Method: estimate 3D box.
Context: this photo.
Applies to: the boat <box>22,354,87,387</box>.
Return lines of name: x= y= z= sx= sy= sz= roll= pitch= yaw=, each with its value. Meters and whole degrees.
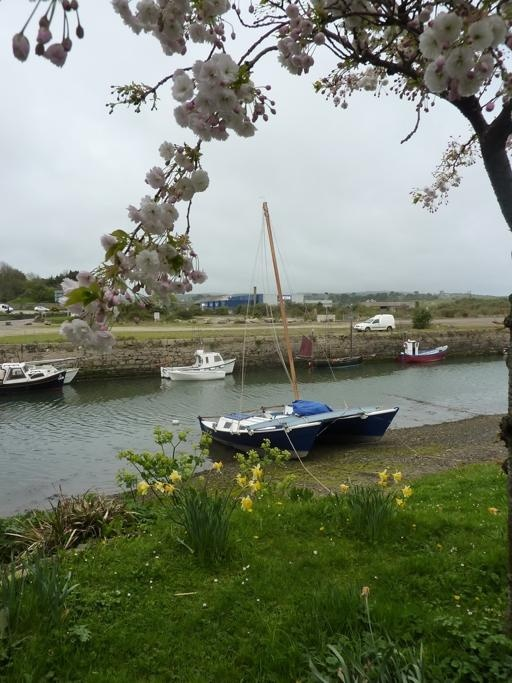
boat: x=-12.391 y=1.661 z=32.490 sx=5.032 sy=1.678 sz=1.241 roll=0 pitch=9 yaw=1

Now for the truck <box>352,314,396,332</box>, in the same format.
truck: x=10.195 y=-1.587 z=49.035 sx=3.043 sy=1.241 sz=1.682 roll=0 pitch=0 yaw=-12

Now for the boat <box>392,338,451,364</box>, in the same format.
boat: x=12.198 y=0.773 z=40.881 sx=3.581 sy=1.392 sz=1.641 roll=-4 pitch=9 yaw=-22

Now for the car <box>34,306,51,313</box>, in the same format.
car: x=-25.956 y=-3.641 z=68.447 sx=1.737 sy=0.699 sz=2.383 roll=3 pitch=9 yaw=-2
